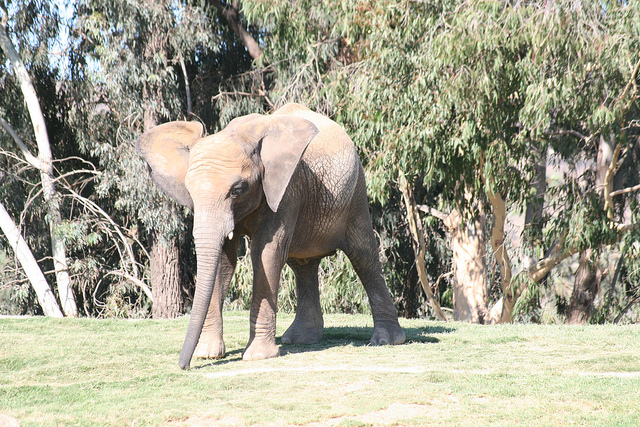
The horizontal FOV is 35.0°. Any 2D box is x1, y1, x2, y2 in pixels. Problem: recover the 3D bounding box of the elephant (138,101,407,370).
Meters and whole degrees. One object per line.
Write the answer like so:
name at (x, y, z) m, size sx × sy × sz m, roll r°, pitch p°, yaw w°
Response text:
elephant at (-0.533, 0.213, 15.233) m, size 3.885 × 3.989 × 2.581 m, roll -4°, pitch 9°, yaw -40°
